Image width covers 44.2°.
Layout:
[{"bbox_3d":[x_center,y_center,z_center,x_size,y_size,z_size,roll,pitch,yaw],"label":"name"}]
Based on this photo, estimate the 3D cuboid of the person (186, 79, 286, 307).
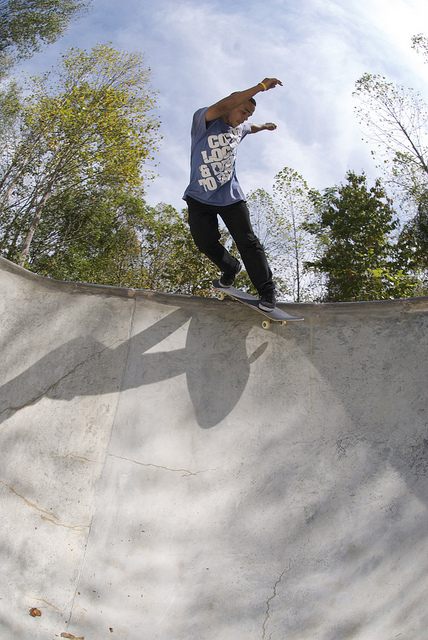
[{"bbox_3d":[0.158,-0.958,4.064,0.739,1.495,1.222,-4,62,-9],"label":"person"}]
